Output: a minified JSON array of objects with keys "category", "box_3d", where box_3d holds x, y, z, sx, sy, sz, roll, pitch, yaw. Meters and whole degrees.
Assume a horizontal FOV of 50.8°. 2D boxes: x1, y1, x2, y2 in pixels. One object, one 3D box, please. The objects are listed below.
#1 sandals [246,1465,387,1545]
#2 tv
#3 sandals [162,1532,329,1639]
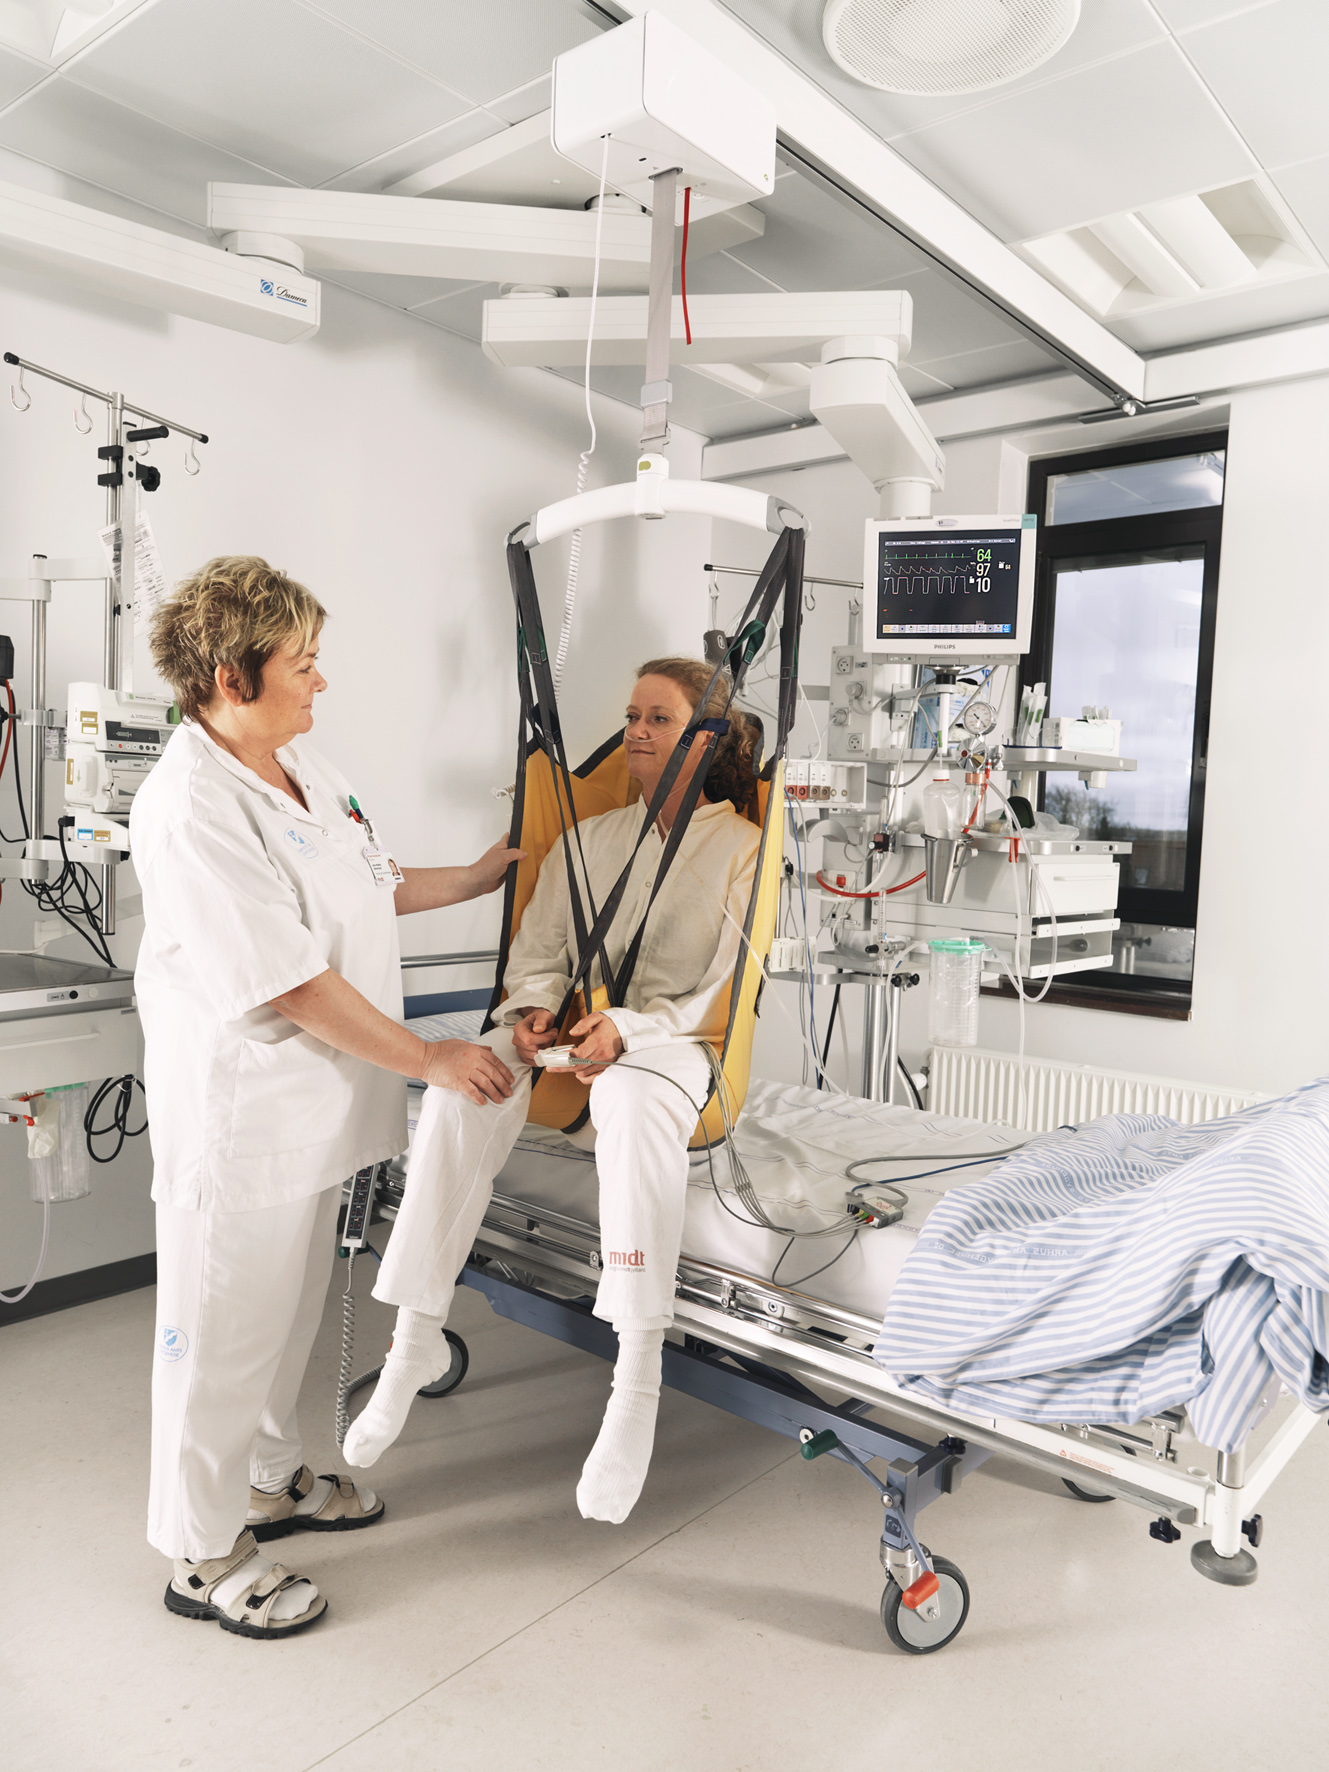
[{"category":"sandals","box_3d":[-0.600,1.062,2.395,0.192,0.086,0.092,-2,1,-23]},{"category":"tv","box_3d":[0.690,-0.734,3.411,0.388,0.312,0.041,2,-1,24]},{"category":"sandals","box_3d":[-0.636,1.058,2.162,0.232,0.108,0.108,2,2,22]}]
